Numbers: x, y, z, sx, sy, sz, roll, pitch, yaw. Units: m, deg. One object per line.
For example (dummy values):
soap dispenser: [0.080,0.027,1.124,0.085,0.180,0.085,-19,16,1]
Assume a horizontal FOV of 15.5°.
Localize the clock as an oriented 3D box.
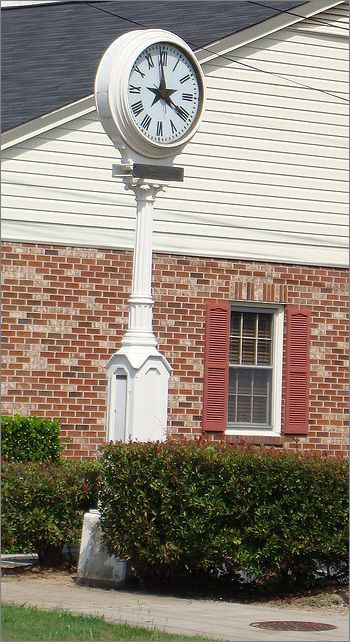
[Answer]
clock: [-0.210,-1.935,11.131,0.955,1.162,0.451,8,-10,-31]
